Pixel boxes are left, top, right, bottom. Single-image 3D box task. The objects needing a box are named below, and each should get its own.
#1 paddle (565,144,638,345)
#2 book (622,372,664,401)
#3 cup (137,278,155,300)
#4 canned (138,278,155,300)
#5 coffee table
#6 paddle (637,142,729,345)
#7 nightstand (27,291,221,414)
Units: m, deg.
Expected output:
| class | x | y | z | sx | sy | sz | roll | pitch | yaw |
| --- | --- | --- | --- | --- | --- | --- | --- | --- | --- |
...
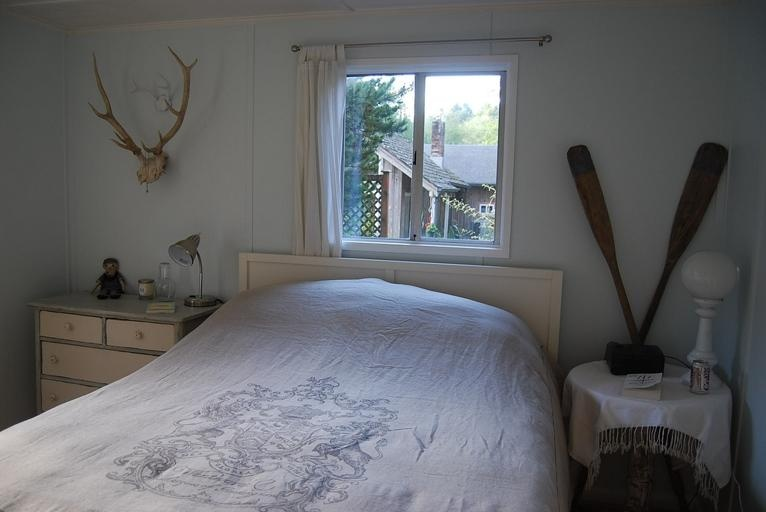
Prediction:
| class | x | y | z | sx | sy | sz | roll | pitch | yaw |
| --- | --- | --- | --- | --- | --- | --- | --- | --- | --- |
| paddle | 1.338 | -0.105 | 3.489 | 0.138 | 1.255 | 0.060 | -18 | -1 | 15 |
| book | 1.364 | 0.688 | 3.027 | 0.143 | 0.040 | 0.145 | -4 | 11 | 16 |
| cup | -1.614 | 0.230 | 3.996 | 0.118 | 0.131 | 0.121 | 2 | -1 | 0 |
| canned | -1.619 | 0.237 | 4.024 | 0.118 | 0.134 | 0.123 | 3 | 3 | 33 |
| coffee table | 1.482 | 0.967 | 3.336 | 0.880 | 0.617 | 0.889 | 2 | 14 | 12 |
| paddle | 1.756 | 0.021 | 3.490 | 0.220 | 1.534 | 0.069 | 21 | 9 | 25 |
| nightstand | -1.828 | 0.770 | 3.976 | 0.919 | 0.923 | 0.458 | 8 | 12 | -5 |
